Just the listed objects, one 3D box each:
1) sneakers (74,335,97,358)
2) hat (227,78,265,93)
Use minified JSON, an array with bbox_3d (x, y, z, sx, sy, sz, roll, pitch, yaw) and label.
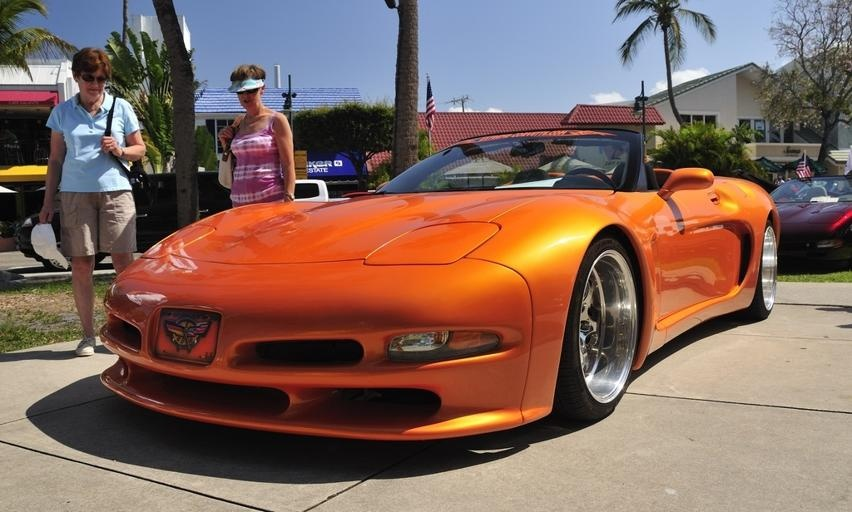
[{"bbox_3d":[-2.613,0.702,4.417,0.138,0.124,0.150,-10,16,-33],"label":"sneakers"},{"bbox_3d":[-1.512,-1.453,4.872,0.271,0.117,0.158,-6,14,-20],"label":"hat"}]
